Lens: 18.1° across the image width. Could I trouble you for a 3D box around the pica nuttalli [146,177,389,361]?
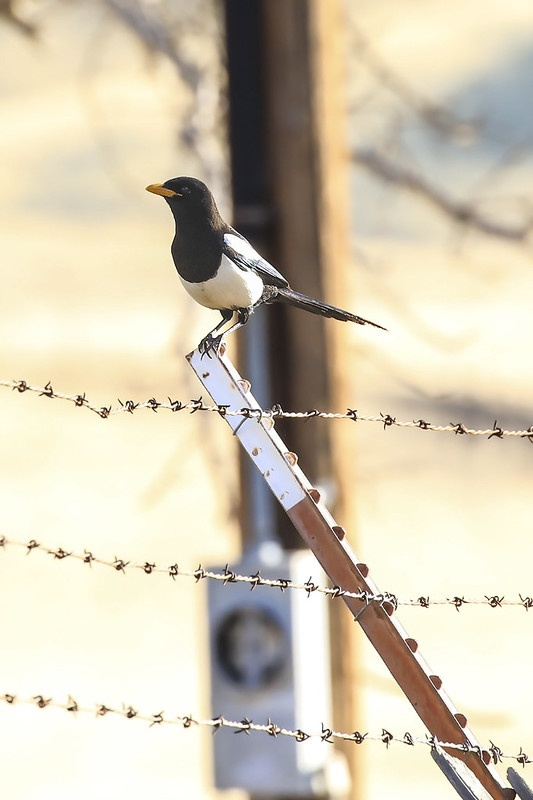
[{"bbox_3d":[-0.059,-0.468,6.111,0.985,0.290,0.602,2,-90,-40],"label":"pica nuttalli"}]
